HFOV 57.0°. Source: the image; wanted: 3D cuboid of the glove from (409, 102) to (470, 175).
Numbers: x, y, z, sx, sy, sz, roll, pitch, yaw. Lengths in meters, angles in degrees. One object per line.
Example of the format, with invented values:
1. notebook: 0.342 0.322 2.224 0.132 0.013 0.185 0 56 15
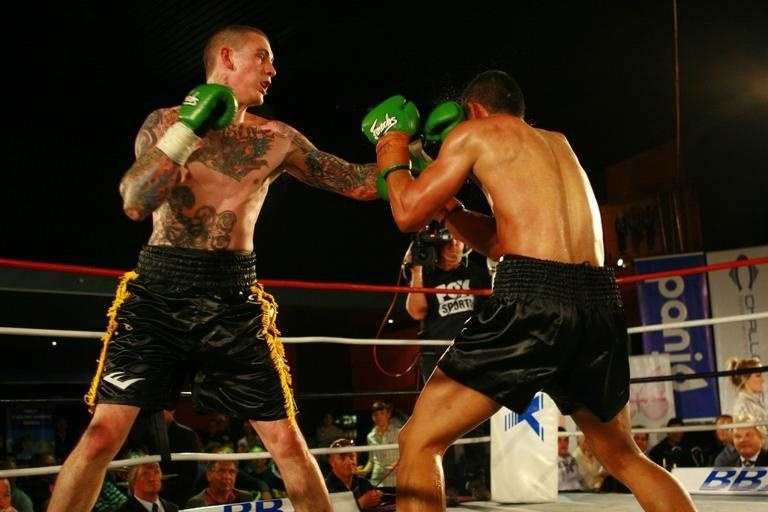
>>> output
1. glove: 0.350 -0.728 4.379 0.189 0.435 0.326 31 13 -33

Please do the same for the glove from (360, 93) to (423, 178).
1. glove: 0.114 -0.743 4.272 0.372 0.482 0.171 -30 21 22
